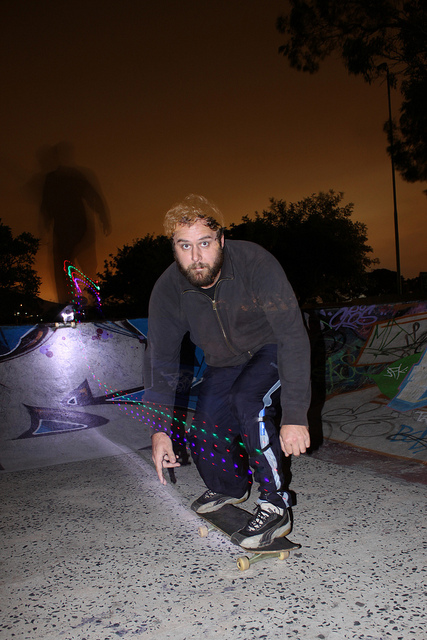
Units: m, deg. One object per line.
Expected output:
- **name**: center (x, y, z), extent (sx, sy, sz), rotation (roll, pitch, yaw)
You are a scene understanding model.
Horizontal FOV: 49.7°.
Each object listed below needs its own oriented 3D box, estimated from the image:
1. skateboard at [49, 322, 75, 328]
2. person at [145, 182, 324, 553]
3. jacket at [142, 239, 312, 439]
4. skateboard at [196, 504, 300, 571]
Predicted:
- **skateboard**: center (-1.581, 0.069, 4.817), extent (0.095, 0.055, 0.290), rotation (-4, -1, 38)
- **person**: center (0.140, 0.247, 2.945), extent (1.152, 1.575, 2.290), rotation (-4, 0, -10)
- **jacket**: center (0.073, 0.036, 2.344), extent (0.918, 0.826, 0.401), rotation (-4, 1, 35)
- **skateboard**: center (0.133, 1.052, 2.235), extent (0.333, 0.105, 0.599), rotation (-4, -1, -26)
